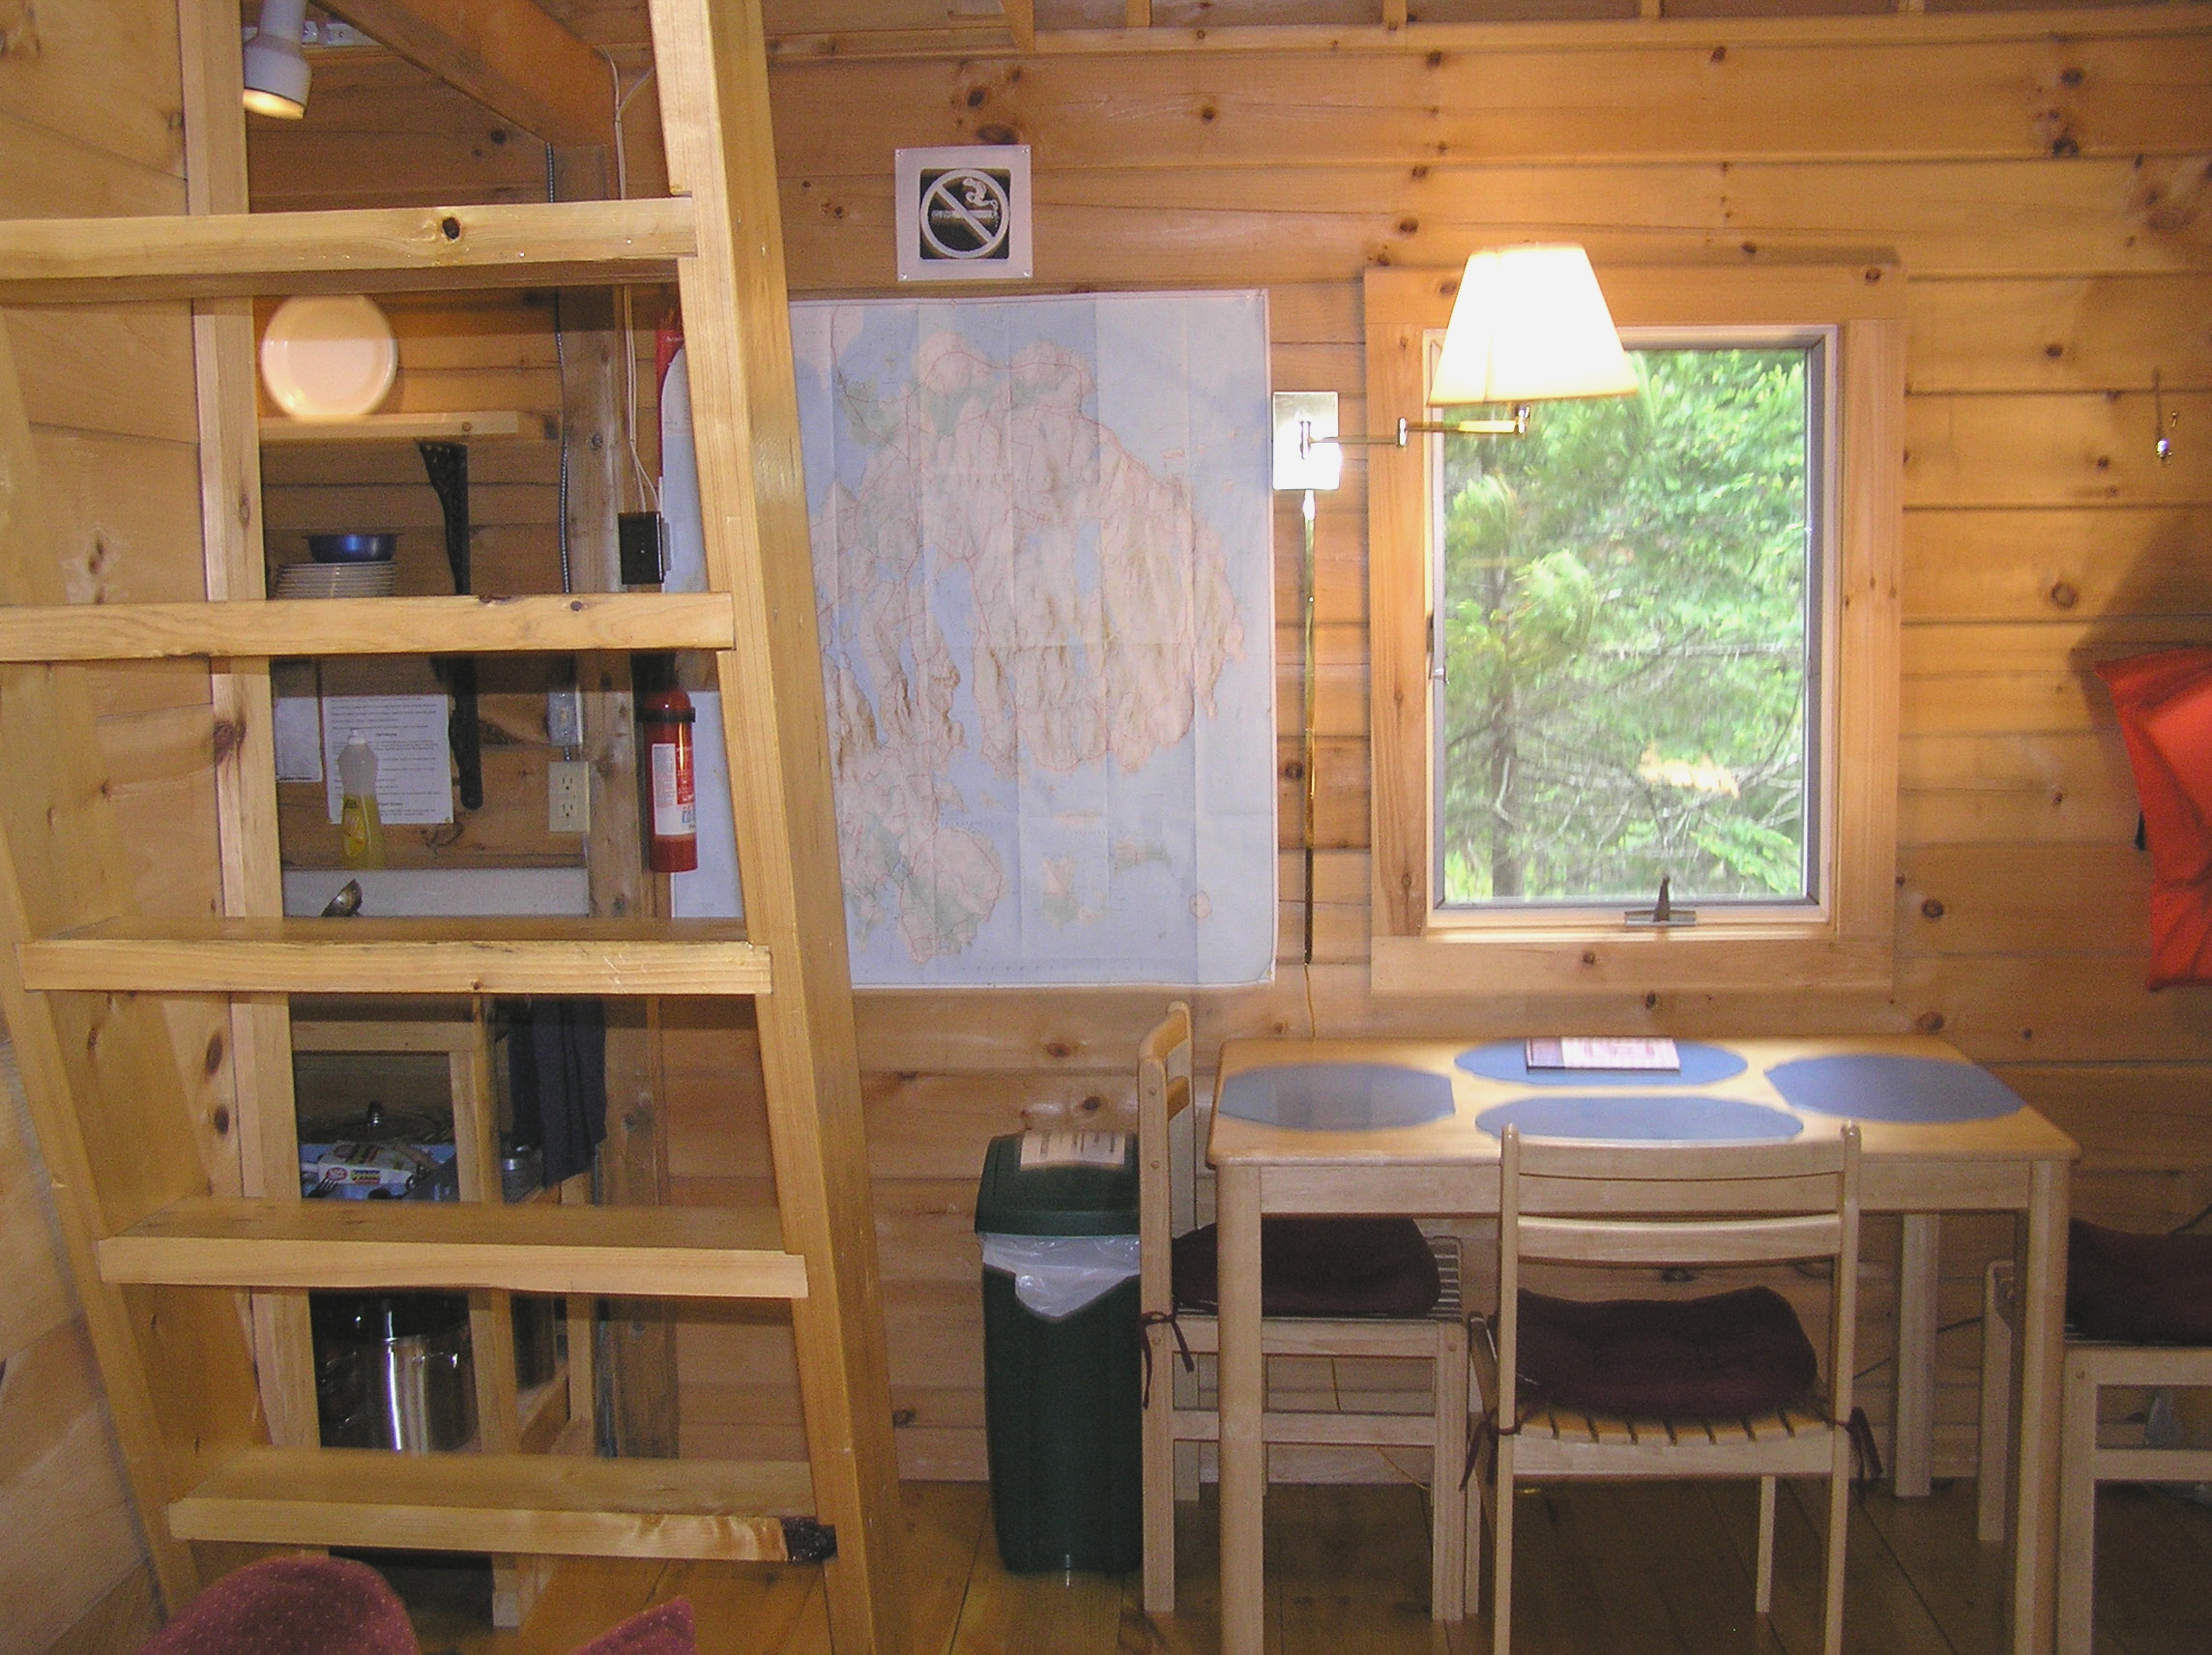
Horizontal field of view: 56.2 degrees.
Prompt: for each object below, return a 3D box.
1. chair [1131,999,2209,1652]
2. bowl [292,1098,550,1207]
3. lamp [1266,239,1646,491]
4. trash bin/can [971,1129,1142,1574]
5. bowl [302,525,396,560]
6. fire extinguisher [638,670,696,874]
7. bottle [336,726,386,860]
[{"bbox_3d":[0.859,0.907,3.748,1.615,1.122,0.794,1,-11,0],"label":"chair"},{"bbox_3d":[-1.293,0.609,3.916,0.463,0.183,0.248,4,-12,-13],"label":"bowl"},{"bbox_3d":[0.616,-0.812,3.769,0.709,0.365,0.337,1,11,36],"label":"lamp"},{"bbox_3d":[-0.091,0.996,3.909,0.315,0.822,0.232,1,-12,1],"label":"trash bin/can"},{"bbox_3d":[-1.516,-0.556,4.156,0.162,0.060,0.104,5,-12,-18],"label":"bowl"},{"bbox_3d":[-0.861,-0.099,4.081,0.108,0.356,0.208,3,-12,-6],"label":"fire extinguisher"},{"bbox_3d":[-1.516,-0.051,4.205,0.093,0.250,0.074,4,-12,-14],"label":"bottle"}]
